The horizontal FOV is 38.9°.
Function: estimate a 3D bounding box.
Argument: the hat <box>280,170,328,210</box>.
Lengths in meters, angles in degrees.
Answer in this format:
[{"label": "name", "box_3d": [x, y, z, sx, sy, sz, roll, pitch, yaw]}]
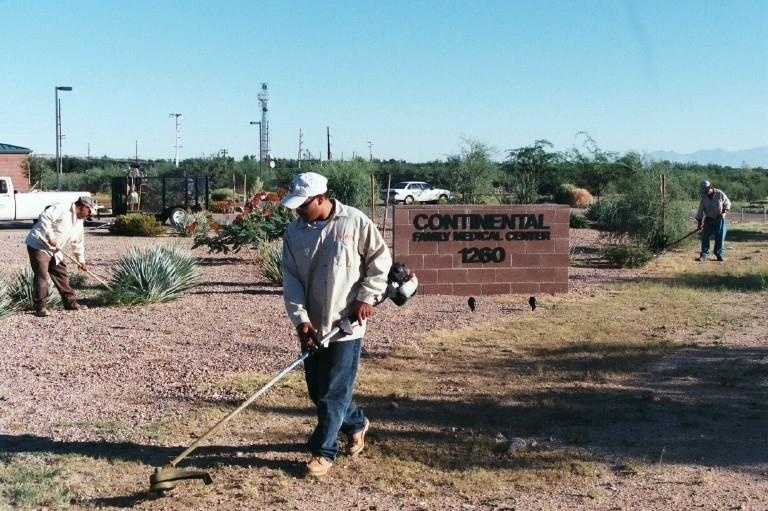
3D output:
[{"label": "hat", "box_3d": [-1.154, -0.957, 15.279, 0.764, 0.462, 0.489, -13, 15, -31]}]

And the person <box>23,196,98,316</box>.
[{"label": "person", "box_3d": [-6.136, -0.065, 20.476, 1.149, 2.204, 0.972, -4, 10, -31]}]

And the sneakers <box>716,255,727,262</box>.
[{"label": "sneakers", "box_3d": [8.681, 0.039, 27.958, 0.131, 0.142, 0.068, -11, 37, 10]}]

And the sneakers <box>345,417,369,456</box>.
[{"label": "sneakers", "box_3d": [-0.408, 2.653, 15.756, 0.244, 0.644, 0.218, 4, 16, -38]}]

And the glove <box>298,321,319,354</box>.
[{"label": "glove", "box_3d": [-1.066, 1.145, 15.170, 0.272, 0.431, 0.122, 16, 33, 31]}]

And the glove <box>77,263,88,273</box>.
[{"label": "glove", "box_3d": [-5.911, 0.196, 21.184, 0.217, 0.174, 0.712, -3, -7, -14]}]

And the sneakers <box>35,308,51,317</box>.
[{"label": "sneakers", "box_3d": [-6.353, 1.057, 20.144, 0.334, 0.253, 0.113, -15, -12, 40]}]

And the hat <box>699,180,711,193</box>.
[{"label": "hat", "box_3d": [8.145, -1.787, 27.437, 0.222, 0.326, 0.659, 3, 9, 16]}]
